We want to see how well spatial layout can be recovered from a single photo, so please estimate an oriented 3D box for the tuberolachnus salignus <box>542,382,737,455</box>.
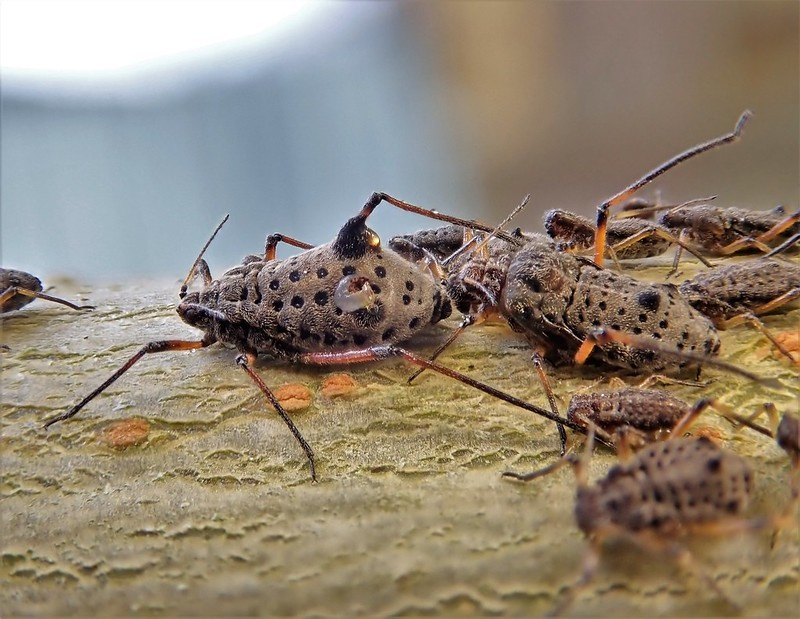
[{"bbox_3d":[0.558,0.265,1.922,0.235,0.067,0.177,-1,39,19],"label":"tuberolachnus salignus"}]
